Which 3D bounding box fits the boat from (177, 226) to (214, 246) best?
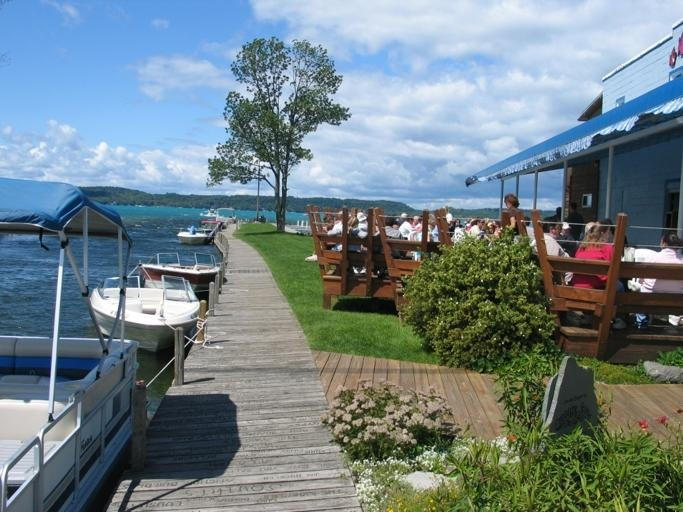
[{"bbox_3d":[-16.382,-2.073,59.292,3.356,2.136,5.521,1,11,-10],"label":"boat"}]
